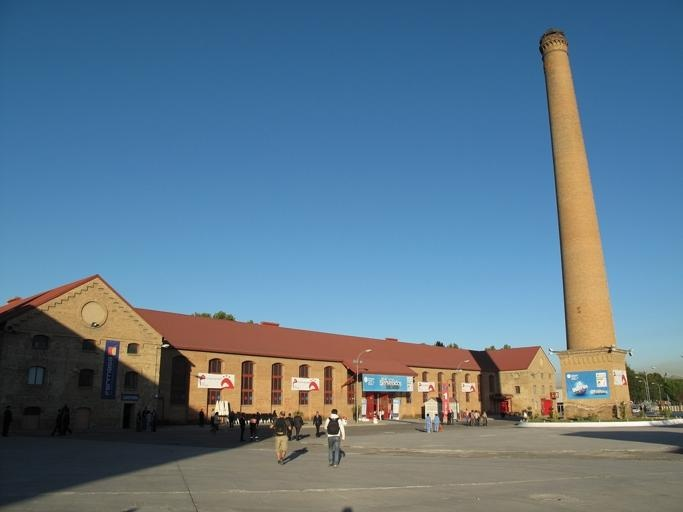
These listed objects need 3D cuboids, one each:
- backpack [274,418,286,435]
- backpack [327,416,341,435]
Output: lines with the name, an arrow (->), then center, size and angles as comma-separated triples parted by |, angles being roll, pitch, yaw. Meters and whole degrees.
backpack -> -2.627, 7.382, 23.412 | 0.512, 0.767, 0.472 | 2, -19, -14
backpack -> -0.358, 7.174, 22.735 | 0.485, 0.767, 0.510 | -1, -18, -4
